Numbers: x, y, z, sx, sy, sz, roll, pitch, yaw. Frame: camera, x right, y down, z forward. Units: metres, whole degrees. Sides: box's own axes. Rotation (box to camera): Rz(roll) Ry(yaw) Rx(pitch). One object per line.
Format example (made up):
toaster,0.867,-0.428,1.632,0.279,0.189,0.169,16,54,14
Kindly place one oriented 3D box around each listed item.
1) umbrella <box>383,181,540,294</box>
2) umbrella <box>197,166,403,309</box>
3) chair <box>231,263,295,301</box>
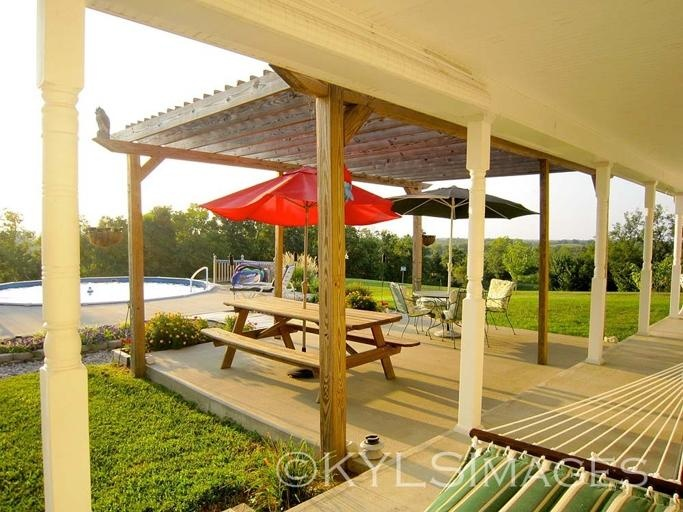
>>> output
umbrella,1.834,-0.473,7.389,1.959,1.235,2.014,0,1,-10
umbrella,-0.441,-0.345,5.225,1.811,1.214,1.826,-1,0,13
chair,-1.885,0.608,11.131,1.279,0.607,0.880,2,-4,-14
